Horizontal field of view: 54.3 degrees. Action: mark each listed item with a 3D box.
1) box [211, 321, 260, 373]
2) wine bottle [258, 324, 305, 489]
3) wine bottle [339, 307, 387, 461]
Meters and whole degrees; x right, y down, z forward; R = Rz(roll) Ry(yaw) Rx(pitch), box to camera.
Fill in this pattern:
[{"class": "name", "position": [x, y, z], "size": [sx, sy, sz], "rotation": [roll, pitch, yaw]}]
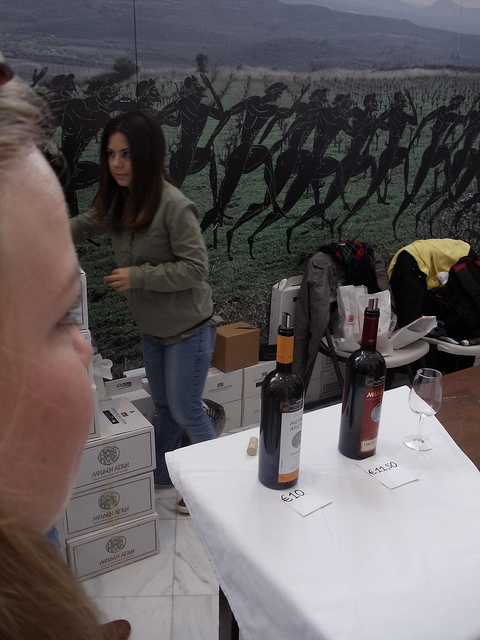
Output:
[{"class": "box", "position": [-0.044, 0.168, 3.034], "size": [0.299, 0.245, 0.213], "rotation": [-17, 31, -35]}, {"class": "wine bottle", "position": [0.080, 0.183, 1.026], "size": [0.105, 0.343, 0.104], "rotation": [2, 22, -1]}, {"class": "wine bottle", "position": [0.297, 0.147, 1.124], "size": [0.095, 0.382, 0.103], "rotation": [1, 17, 0]}]
